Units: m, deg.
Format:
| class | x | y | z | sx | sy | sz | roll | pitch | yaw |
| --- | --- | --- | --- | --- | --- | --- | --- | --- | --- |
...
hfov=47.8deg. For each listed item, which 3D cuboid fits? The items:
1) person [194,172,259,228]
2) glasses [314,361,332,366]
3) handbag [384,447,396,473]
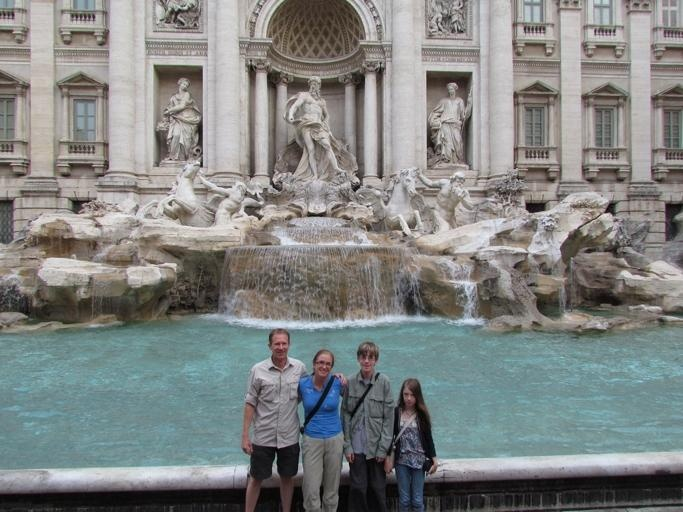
| class | x | y | z | sx | sy | sz | roll | pitch | yaw |
| --- | --- | --- | --- | --- | --- | --- | --- | --- | --- |
| person | -3.638 | -1.750 | 24.491 | 1.079 | 1.473 | 2.010 | -2 | -8 | 32 |
| glasses | -0.300 | 1.703 | 12.208 | 0.294 | 0.104 | 0.074 | 2 | 14 | 6 |
| handbag | 0.752 | 3.276 | 12.317 | 0.105 | 0.320 | 0.230 | 11 | -6 | -5 |
